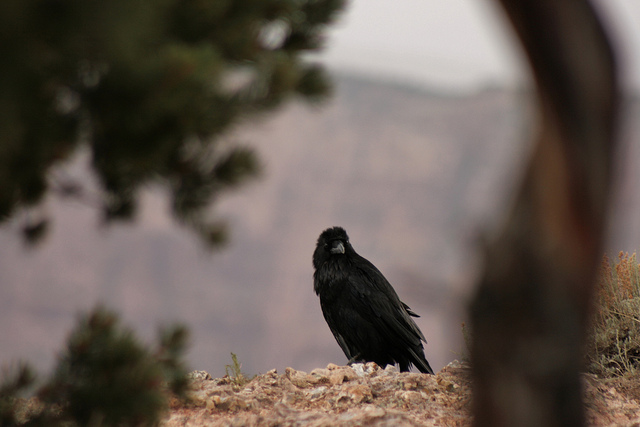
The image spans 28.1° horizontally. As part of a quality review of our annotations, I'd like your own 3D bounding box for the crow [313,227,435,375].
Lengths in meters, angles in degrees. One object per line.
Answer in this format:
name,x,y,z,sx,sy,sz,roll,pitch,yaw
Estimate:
crow,0.314,0.629,8.231,0.646,0.925,0.471,14,-42,-32
